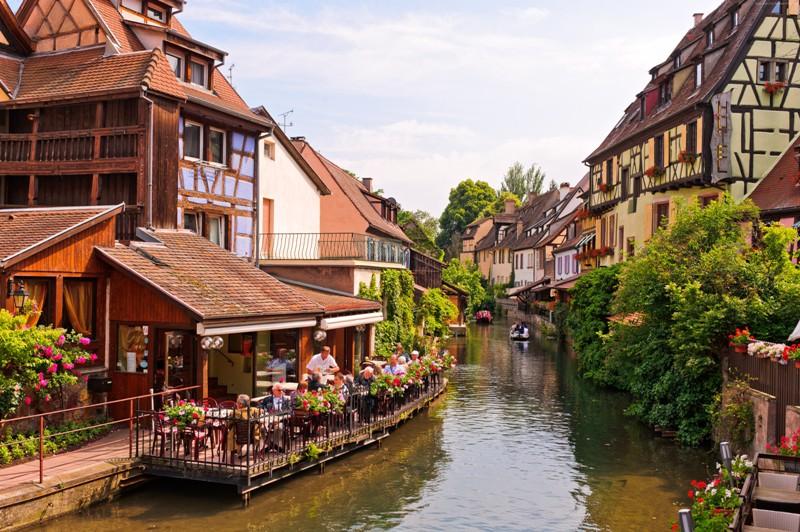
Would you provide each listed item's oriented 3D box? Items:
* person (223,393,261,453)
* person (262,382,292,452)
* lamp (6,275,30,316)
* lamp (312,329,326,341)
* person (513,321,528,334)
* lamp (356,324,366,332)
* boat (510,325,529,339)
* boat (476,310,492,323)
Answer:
[{"bbox_3d":[-4.168,4.104,23.568,0.979,1.538,0.967,3,15,2],"label":"person"},{"bbox_3d":[-3.409,4.183,24.256,0.763,1.636,1.360,0,6,-8],"label":"person"},{"bbox_3d":[-10.357,0.798,23.730,0.489,0.957,0.901,-1,7,-24],"label":"lamp"},{"bbox_3d":[-2.726,2.366,29.751,0.404,0.414,0.296,-1,7,-1],"label":"lamp"},{"bbox_3d":[7.979,4.182,58.550,1.215,0.747,1.720,0,-2,-1],"label":"person"},{"bbox_3d":[-1.527,2.351,33.564,0.288,0.370,0.154,-2,25,-4],"label":"lamp"},{"bbox_3d":[7.942,4.402,58.148,1.088,1.037,2.113,3,6,13],"label":"boat"},{"bbox_3d":[7.409,4.514,78.251,0.827,0.776,2.610,0,-6,4],"label":"boat"}]
